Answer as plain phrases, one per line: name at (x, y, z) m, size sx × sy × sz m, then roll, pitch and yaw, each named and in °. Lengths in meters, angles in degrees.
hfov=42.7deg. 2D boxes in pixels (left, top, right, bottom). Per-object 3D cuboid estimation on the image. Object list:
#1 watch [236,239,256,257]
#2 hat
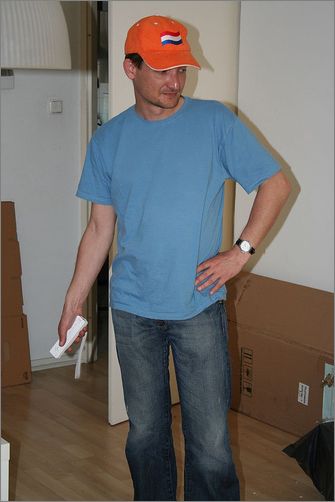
watch at (0.187, -0.010, 1.025) m, size 0.046 × 0.029 × 0.042 m, roll 52°, pitch 3°, yaw 1°
hat at (-0.017, -0.511, 1.046) m, size 0.128 × 0.101 × 0.204 m, roll -14°, pitch 34°, yaw -26°
